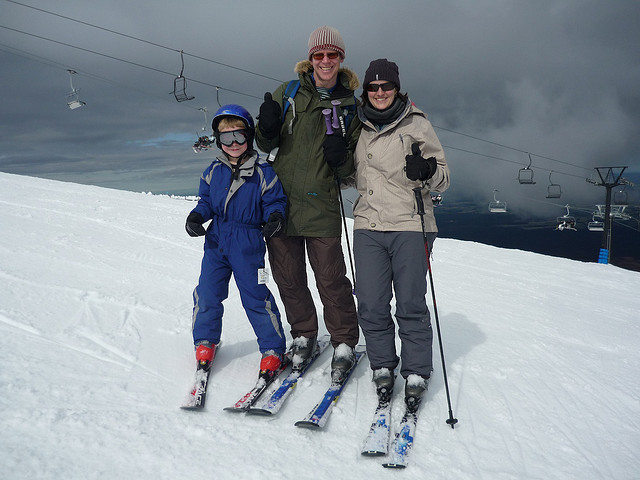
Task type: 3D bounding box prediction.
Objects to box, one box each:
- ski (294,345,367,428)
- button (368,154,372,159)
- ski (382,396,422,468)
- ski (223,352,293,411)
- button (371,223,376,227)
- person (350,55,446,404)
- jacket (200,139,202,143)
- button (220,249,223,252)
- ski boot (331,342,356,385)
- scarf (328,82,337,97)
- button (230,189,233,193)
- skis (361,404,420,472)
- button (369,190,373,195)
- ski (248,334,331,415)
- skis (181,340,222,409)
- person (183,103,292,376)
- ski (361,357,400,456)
[{"bbox_3d":[0.111,1.376,4.577,0.252,0.134,1.713,2,15,15],"label":"ski"},{"bbox_3d":[0.452,-0.762,4.502,0.048,0.048,0.016,2,3,12],"label":"button"},{"bbox_3d":[0.690,1.575,4.067,0.118,0.773,0.039,7,26,-2],"label":"ski"},{"bbox_3d":[-0.584,1.306,4.475,0.154,0.125,1.102,3,16,14],"label":"ski"},{"bbox_3d":[0.478,-0.138,4.451,0.034,0.035,0.008,0,-3,5],"label":"button"},{"bbox_3d":[0.673,-0.082,4.399,0.871,2.951,0.695,6,10,5],"label":"person"},{"bbox_3d":[-4.798,-3.983,19.932,0.086,0.107,0.159,2,11,-21],"label":"jacket"},{"bbox_3d":[-0.932,0.100,4.665,0.035,0.031,0.008,11,11,26],"label":"button"},{"bbox_3d":[0.221,1.169,4.677,0.134,0.178,0.442,2,10,9],"label":"ski boot"},{"bbox_3d":[0.136,-1.436,4.709,0.078,0.106,0.042,21,-22,41],"label":"scarf"},{"bbox_3d":[-0.830,-0.462,4.621,0.028,0.025,0.012,6,10,2],"label":"button"},{"bbox_3d":[0.572,1.573,4.038,0.216,0.084,0.614,2,18,16],"label":"skis"},{"bbox_3d":[0.458,-0.436,4.491,0.042,0.043,0.010,1,-3,15],"label":"button"},{"bbox_3d":[-0.224,1.260,4.780,0.259,0.147,1.830,17,16,12],"label":"ski"},{"bbox_3d":[-1.099,1.269,4.593,0.161,0.062,1.073,2,20,0],"label":"skis"},{"bbox_3d":[-0.761,-0.015,4.645,0.962,2.433,0.582,5,10,-3],"label":"person"},{"bbox_3d":[0.578,1.515,4.454,0.181,0.066,1.404,6,11,12],"label":"ski"}]
